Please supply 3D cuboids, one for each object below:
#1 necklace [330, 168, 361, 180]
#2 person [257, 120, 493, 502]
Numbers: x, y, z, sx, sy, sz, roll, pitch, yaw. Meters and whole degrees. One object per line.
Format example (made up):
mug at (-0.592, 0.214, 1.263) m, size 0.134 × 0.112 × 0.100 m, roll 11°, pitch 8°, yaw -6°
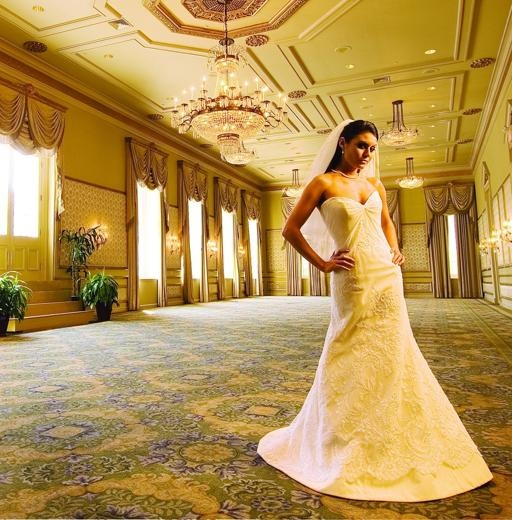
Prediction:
necklace at (0.403, -0.378, 1.449) m, size 0.089 × 0.021 × 0.068 m, roll 13°, pitch 4°, yaw 15°
person at (0.382, 0.129, 1.294) m, size 0.695 × 1.239 × 0.891 m, roll -12°, pitch 18°, yaw -34°
